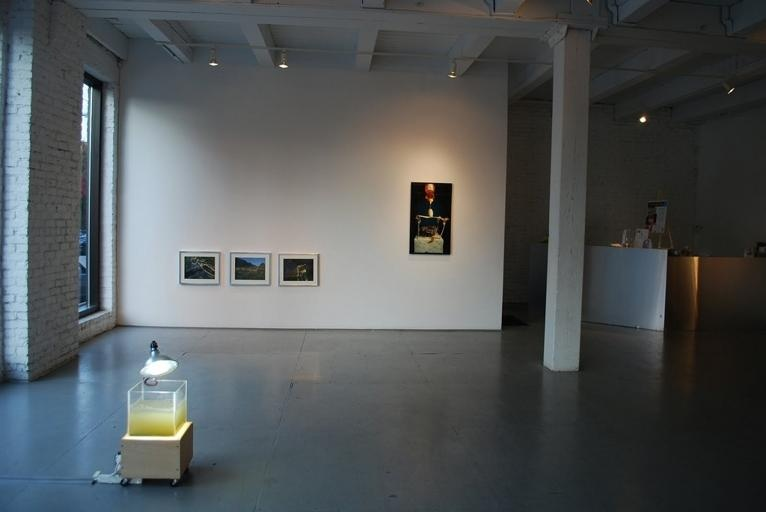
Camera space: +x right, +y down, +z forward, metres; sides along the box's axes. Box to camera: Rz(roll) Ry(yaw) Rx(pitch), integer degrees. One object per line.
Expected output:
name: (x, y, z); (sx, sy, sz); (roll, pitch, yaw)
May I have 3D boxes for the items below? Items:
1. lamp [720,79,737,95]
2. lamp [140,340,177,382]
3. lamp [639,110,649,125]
lamp: (6.752, -3.309, 10.950); (0.319, 0.171, 0.294); (4, -2, 1)
lamp: (-2.433, 1.097, 6.083); (0.352, 0.371, 0.437); (-9, 9, -7)
lamp: (6.201, -3.305, 13.343); (0.071, 0.295, 0.302); (21, 8, 23)
